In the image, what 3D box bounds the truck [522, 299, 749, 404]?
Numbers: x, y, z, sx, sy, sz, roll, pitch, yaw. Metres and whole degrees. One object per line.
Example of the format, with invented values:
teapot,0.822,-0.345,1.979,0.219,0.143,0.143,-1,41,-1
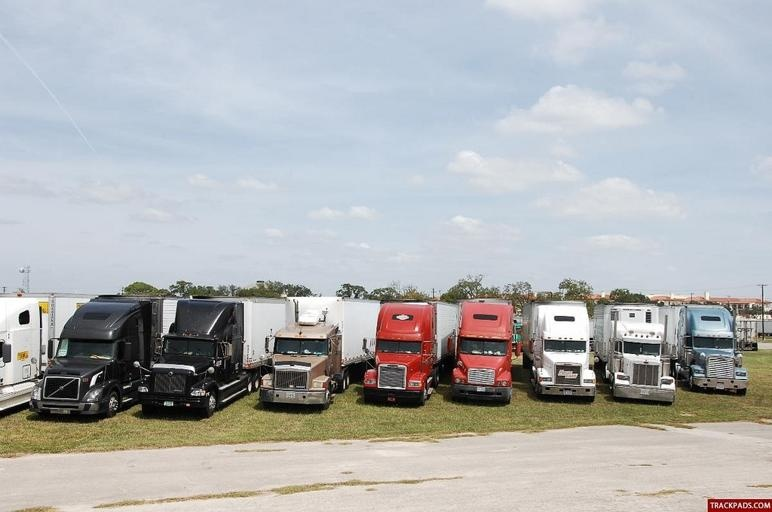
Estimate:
truck,13.094,4.540,35.324,8.323,4.363,5.689,-1,4,-31
